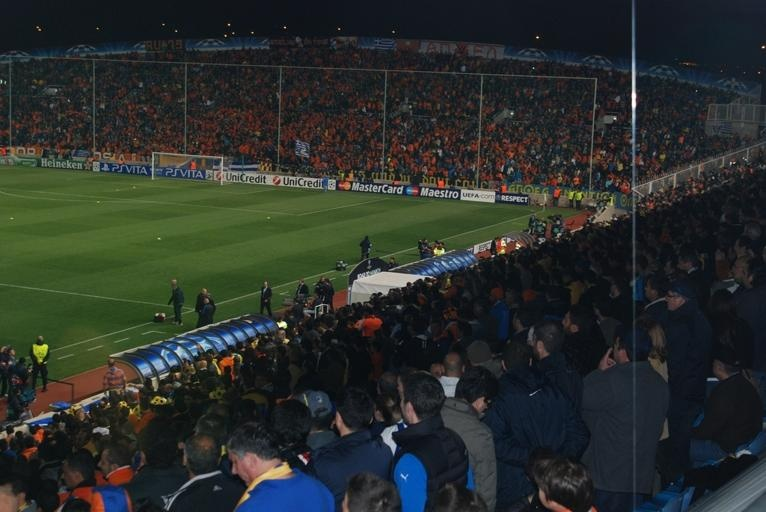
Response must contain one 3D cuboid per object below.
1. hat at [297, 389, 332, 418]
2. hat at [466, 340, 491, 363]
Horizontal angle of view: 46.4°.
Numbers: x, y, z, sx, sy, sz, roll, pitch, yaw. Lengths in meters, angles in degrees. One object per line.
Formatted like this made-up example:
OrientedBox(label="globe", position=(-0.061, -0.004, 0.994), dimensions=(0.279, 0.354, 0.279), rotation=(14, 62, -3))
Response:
OrientedBox(label="hat", position=(-0.813, 1.754, 10.578), dimensions=(0.368, 0.301, 0.289), rotation=(-4, 7, -3))
OrientedBox(label="hat", position=(1.221, 1.254, 11.657), dimensions=(0.256, 0.277, 0.313), rotation=(-2, 21, -7))
